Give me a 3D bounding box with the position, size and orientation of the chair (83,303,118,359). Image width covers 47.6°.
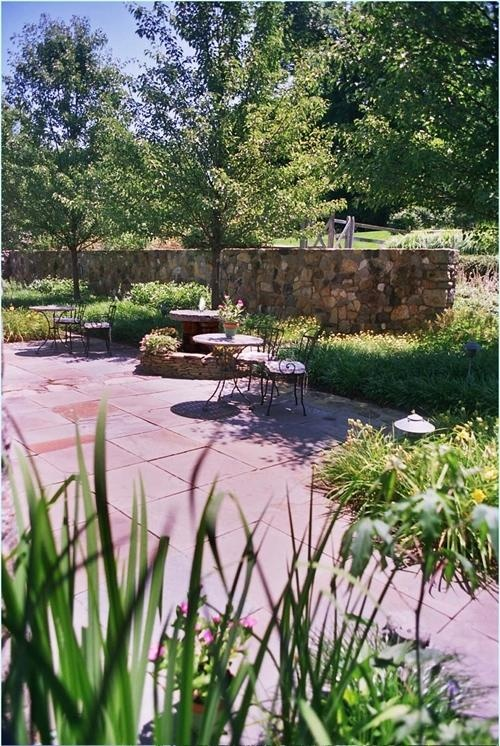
[{"bbox_3d":[-3.034,-0.916,11.483,0.691,1.012,3.438,-2,4,-16],"label":"chair"}]

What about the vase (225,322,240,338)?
[{"bbox_3d":[-0.228,-0.517,6.943,0.163,0.188,0.301,-1,4,-3],"label":"vase"}]
